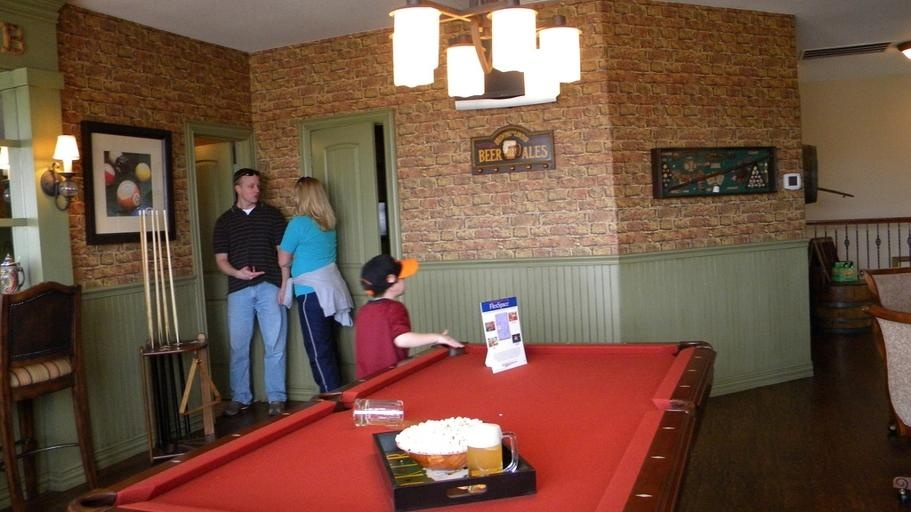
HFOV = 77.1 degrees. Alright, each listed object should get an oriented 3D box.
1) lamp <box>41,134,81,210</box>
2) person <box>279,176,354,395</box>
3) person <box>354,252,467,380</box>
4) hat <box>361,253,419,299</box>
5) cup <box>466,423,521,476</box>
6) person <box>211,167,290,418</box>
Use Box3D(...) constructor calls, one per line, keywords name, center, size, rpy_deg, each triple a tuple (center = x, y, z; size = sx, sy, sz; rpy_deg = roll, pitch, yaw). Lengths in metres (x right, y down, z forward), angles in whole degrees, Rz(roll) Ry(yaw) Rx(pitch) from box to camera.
Box3D(name="lamp", center=(-3.600, -0.748, 5.276), size=(0.375, 0.638, 0.257), rpy_deg=(-4, -2, 30))
Box3D(name="person", center=(-1.529, 0.455, 6.472), size=(0.928, 2.484, 0.702), rpy_deg=(3, 10, 18))
Box3D(name="person", center=(-0.379, 0.487, 4.275), size=(0.771, 1.038, 0.587), rpy_deg=(-1, 0, -14))
Box3D(name="hat", center=(-0.538, 0.072, 4.348), size=(0.446, 0.211, 0.289), rpy_deg=(-33, 29, -30))
Box3D(name="cup", center=(0.142, 0.970, 2.877), size=(0.333, 0.263, 0.191), rpy_deg=(1, -3, -4))
Box3D(name="person", center=(-2.539, 0.401, 6.859), size=(1.441, 3.112, 0.970), rpy_deg=(-2, 1, -10))
